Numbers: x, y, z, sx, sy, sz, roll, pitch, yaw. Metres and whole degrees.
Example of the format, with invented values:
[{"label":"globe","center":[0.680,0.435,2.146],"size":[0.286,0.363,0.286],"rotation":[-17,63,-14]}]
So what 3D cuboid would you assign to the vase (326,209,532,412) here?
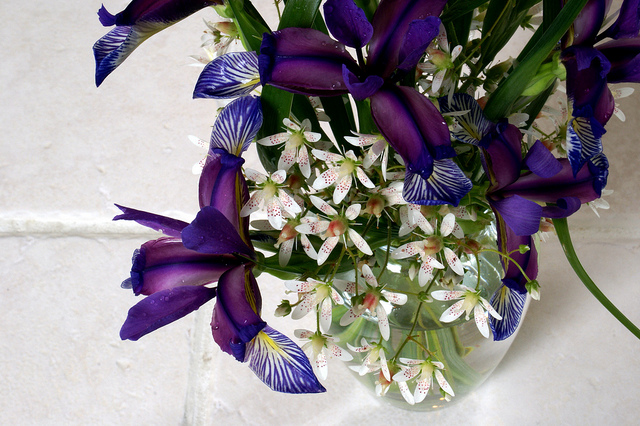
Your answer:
[{"label":"vase","center":[0.089,0.094,0.791],"size":[0.224,0.268,0.247],"rotation":[-5,61,7]}]

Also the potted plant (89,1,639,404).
[{"label":"potted plant","center":[0.010,-0.023,0.774],"size":[0.428,0.452,0.508],"rotation":[-18,34,-22]}]
